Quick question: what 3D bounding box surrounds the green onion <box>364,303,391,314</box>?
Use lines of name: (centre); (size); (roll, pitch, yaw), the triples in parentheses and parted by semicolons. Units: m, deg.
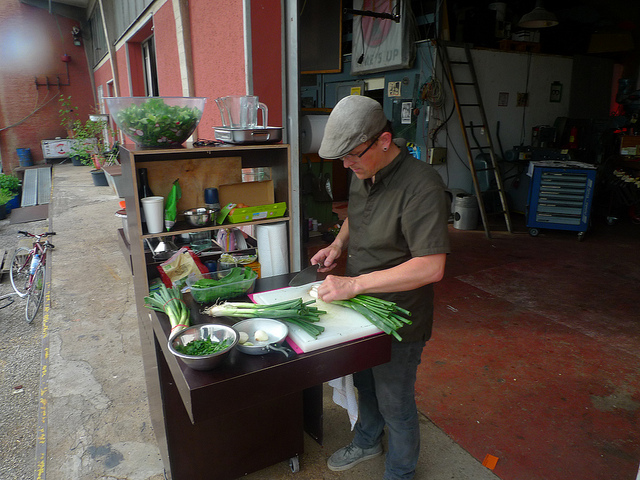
green onion: (0.286, 0.332, 2.064); (0.152, 0.021, 0.030); (13, 40, 21)

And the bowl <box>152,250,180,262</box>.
bowl: (-1.074, 0.111, 2.894); (0.160, 0.051, 0.102); (-7, 12, -18)

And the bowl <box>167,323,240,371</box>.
bowl: (-0.512, 0.476, 1.838); (0.292, 0.142, 0.225); (1, 13, 17)

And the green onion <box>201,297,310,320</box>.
green onion: (-0.326, 0.336, 2.035); (0.554, 0.086, 0.107); (-1, 12, 10)

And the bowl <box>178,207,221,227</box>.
bowl: (-0.803, -0.158, 2.879); (0.245, 0.112, 0.126); (-6, 12, -12)

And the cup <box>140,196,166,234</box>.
cup: (-1.087, -0.175, 2.771); (0.141, 0.232, 0.232); (-7, 13, -17)

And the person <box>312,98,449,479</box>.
person: (0.350, 0.388, 2.436); (0.741, 2.334, 0.697); (-3, 13, 0)

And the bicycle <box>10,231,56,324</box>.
bicycle: (-3.797, 0.396, 5.505); (0.539, 0.991, 1.578); (-12, 15, -32)

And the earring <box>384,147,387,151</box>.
earring: (0.348, -0.489, 2.217); (0.018, 0.017, 0.004); (0, 3, -14)

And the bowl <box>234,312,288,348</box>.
bowl: (-0.272, 0.422, 1.921); (0.235, 0.133, 0.213); (-4, 12, -6)

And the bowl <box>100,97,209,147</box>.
bowl: (-1.002, -0.749, 2.634); (0.584, 0.312, 0.247); (-8, 13, -22)

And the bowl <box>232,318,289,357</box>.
bowl: (-0.268, 0.448, 1.907); (0.241, 0.132, 0.181); (-5, 12, -9)
